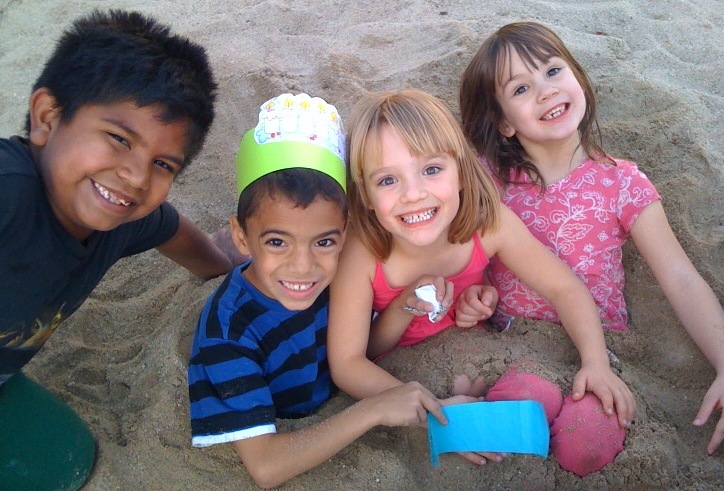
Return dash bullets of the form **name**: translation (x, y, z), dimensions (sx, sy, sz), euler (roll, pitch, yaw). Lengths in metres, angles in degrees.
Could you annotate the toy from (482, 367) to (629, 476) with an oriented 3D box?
- **toy**: translation (0.903, 0.835, 3.600), dimensions (0.640, 0.269, 0.384), euler (34, 76, -8)
